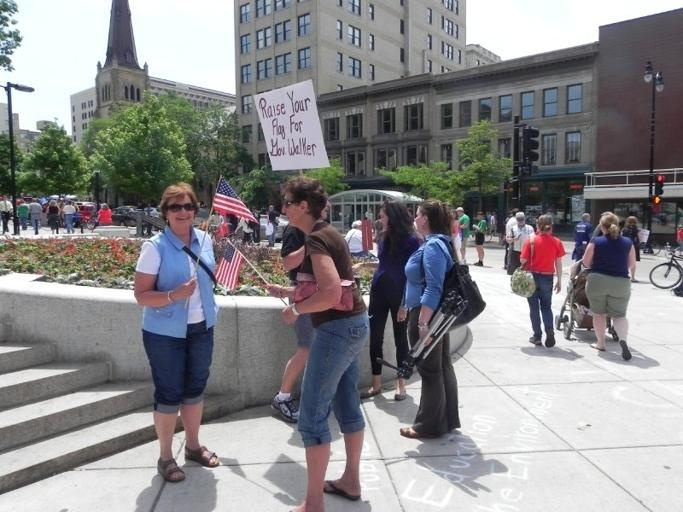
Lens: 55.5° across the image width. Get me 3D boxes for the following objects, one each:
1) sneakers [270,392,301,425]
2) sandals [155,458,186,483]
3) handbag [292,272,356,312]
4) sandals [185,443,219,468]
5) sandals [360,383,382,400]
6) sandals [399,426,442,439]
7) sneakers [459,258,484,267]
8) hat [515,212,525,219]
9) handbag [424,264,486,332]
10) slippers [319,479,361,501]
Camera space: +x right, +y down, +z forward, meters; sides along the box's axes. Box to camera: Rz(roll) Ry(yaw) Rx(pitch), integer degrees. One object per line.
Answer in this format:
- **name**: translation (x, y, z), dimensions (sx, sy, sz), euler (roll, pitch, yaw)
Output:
- **sneakers**: translation (-0.630, 1.759, 7.408), dimensions (0.511, 0.265, 0.200), euler (15, 12, 40)
- **sandals**: translation (-1.647, 2.111, 6.349), dimensions (0.144, 0.131, 0.313), euler (5, -8, -37)
- **handbag**: translation (-0.141, 0.332, 5.961), dimensions (0.581, 0.375, 0.341), euler (-2, 6, -7)
- **sandals**: translation (-1.397, 2.050, 6.647), dimensions (0.365, 0.154, 0.161), euler (4, -5, 12)
- **sandals**: translation (0.410, 1.718, 8.056), dimensions (0.333, 0.138, 0.116), euler (-2, -16, 8)
- **sandals**: translation (0.868, 1.958, 7.097), dimensions (0.420, 0.179, 0.156), euler (5, -6, 18)
- **sneakers**: translation (3.425, 0.169, 16.929), dimensions (0.656, 0.295, 0.206), euler (-7, -4, 43)
- **hat**: translation (4.482, -1.018, 16.248), dimensions (0.180, 0.280, 0.272), euler (2, 4, 5)
- **handbag**: translation (1.278, 0.508, 7.337), dimensions (0.539, 1.036, 0.842), euler (-9, -1, 11)
- **slippers**: translation (-0.005, 2.219, 6.236), dimensions (0.362, 0.105, 0.148), euler (14, -2, 16)
